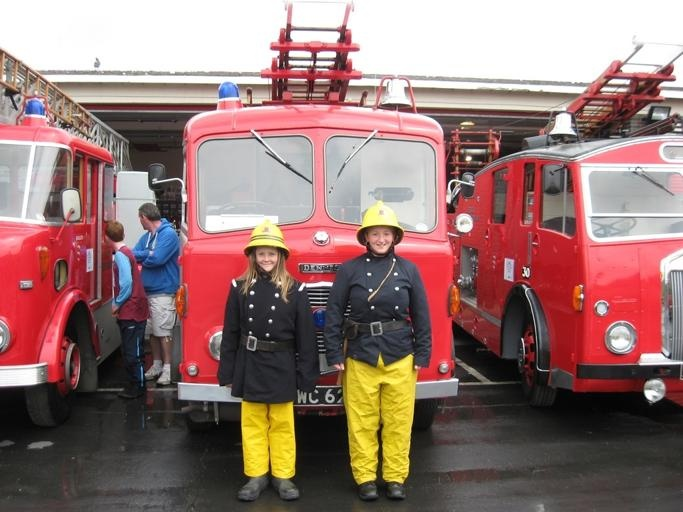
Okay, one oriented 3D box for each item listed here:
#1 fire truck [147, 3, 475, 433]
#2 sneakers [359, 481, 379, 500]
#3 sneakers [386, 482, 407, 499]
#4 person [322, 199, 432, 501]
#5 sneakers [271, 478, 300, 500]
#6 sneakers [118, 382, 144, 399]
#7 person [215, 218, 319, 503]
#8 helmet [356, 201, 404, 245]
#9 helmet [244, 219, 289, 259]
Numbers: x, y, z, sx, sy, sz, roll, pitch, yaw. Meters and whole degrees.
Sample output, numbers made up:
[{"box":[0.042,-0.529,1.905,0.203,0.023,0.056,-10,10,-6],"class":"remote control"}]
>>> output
[{"box":[-0.375,-0.462,7.728,2.624,3.369,5.148,-1,-1,-4],"class":"fire truck"},{"box":[0.244,1.993,4.819,0.179,0.152,0.150,0,9,-3],"class":"sneakers"},{"box":[0.471,1.999,4.801,0.162,0.143,0.105,1,9,5],"class":"sneakers"},{"box":[0.319,0.803,4.854,0.889,2.485,0.605,2,9,9],"class":"person"},{"box":[-0.476,1.993,4.835,0.109,0.128,0.305,2,-9,-27],"class":"sneakers"},{"box":[-2.572,1.672,6.957,0.141,0.162,0.384,1,-10,12],"class":"sneakers"},{"box":[-0.628,0.891,4.827,0.844,2.319,0.596,-2,9,-12],"class":"person"},{"box":[0.342,-0.326,4.954,0.357,0.269,0.406,1,-19,-2],"class":"helmet"},{"box":[-0.637,-0.146,4.798,0.312,0.220,0.342,1,-14,-3],"class":"helmet"}]
